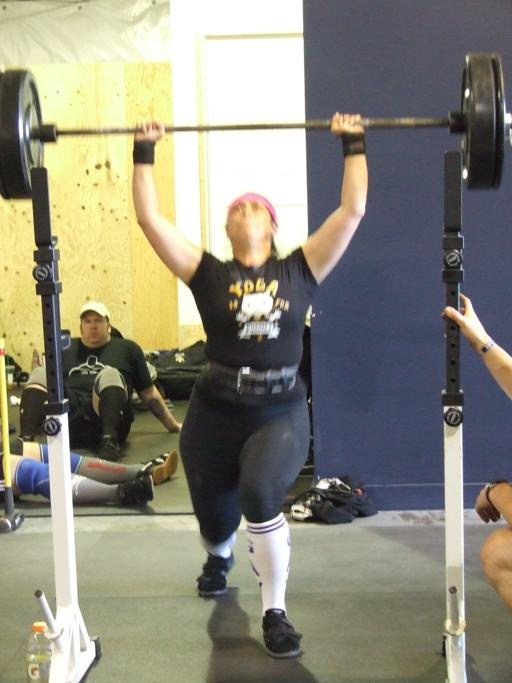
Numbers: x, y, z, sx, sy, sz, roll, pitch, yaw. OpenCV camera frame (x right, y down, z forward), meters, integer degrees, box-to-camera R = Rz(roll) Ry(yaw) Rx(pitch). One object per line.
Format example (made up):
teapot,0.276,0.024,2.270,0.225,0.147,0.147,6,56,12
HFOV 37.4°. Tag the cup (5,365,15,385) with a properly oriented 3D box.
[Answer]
cup,-1.143,0.161,3.514,0.035,0.093,0.036,-1,5,0

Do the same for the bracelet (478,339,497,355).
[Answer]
bracelet,0.616,0.013,2.012,0.035,0.029,0.034,-35,5,-3

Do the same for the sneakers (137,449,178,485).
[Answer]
sneakers,-0.426,0.567,3.433,0.089,0.103,0.218,7,24,42

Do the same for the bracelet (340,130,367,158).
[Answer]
bracelet,0.273,-0.552,2.131,0.056,0.069,0.020,-1,2,2

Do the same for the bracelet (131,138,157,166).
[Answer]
bracelet,-0.313,-0.528,2.112,0.059,0.075,0.063,1,6,-31

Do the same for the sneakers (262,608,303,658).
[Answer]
sneakers,0.073,0.811,2.123,0.108,0.143,0.098,-1,5,-1

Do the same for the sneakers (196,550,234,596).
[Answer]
sneakers,-0.147,0.788,2.500,0.059,0.090,0.166,0,-6,5

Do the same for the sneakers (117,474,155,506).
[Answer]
sneakers,-0.533,0.675,3.427,0.152,0.178,0.101,0,1,7
